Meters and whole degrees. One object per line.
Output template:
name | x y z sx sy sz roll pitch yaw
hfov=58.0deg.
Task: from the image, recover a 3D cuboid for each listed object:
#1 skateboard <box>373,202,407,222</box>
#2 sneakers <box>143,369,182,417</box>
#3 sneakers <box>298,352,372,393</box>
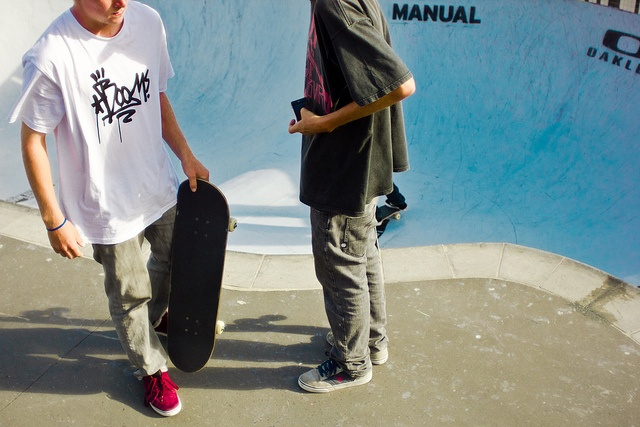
skateboard | 0.846 -0.006 7.146 0.494 0.228 0.150 4 -14 30
sneakers | -1.390 1.463 4.948 0.277 0.241 0.608 -5 22 -28
sneakers | 0.114 1.414 5.098 0.639 0.305 0.268 -1 30 -5
